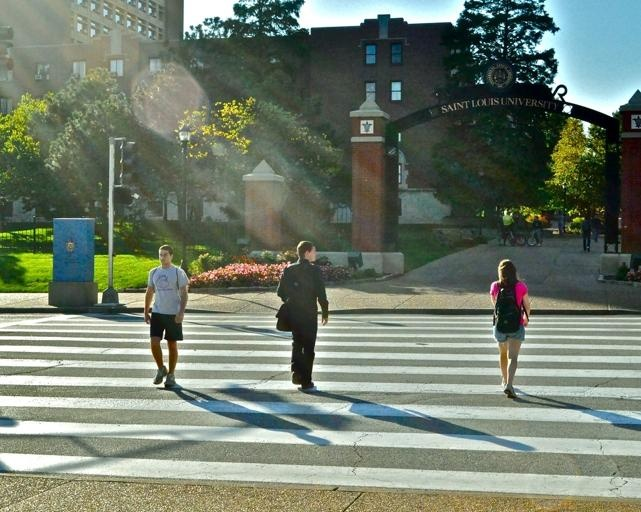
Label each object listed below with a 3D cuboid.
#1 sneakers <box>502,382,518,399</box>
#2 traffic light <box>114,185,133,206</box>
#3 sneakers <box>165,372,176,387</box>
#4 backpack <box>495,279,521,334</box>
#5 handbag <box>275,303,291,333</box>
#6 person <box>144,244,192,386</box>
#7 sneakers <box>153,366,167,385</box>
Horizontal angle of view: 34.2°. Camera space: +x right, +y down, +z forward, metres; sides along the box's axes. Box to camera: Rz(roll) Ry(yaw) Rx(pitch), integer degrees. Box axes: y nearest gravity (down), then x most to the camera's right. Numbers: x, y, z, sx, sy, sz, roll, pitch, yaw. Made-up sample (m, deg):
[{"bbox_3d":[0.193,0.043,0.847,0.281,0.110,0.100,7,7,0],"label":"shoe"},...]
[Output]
[{"bbox_3d":[3.027,2.192,16.738,0.109,0.147,0.336,9,-16,23],"label":"sneakers"},{"bbox_3d":[-5.307,-1.610,27.578,0.486,0.479,0.119,6,-5,-35],"label":"traffic light"},{"bbox_3d":[-2.536,2.109,17.606,0.210,0.220,0.303,4,2,-7],"label":"sneakers"},{"bbox_3d":[3.050,0.924,17.003,0.415,0.726,0.706,0,-6,10],"label":"backpack"},{"bbox_3d":[-0.617,1.050,17.727,0.254,0.505,0.439,4,2,-4],"label":"handbag"},{"bbox_3d":[-2.659,1.015,17.859,0.679,2.363,0.939,3,2,-9],"label":"person"},{"bbox_3d":[-2.716,2.051,17.640,0.152,0.369,0.163,13,-30,12],"label":"sneakers"}]
